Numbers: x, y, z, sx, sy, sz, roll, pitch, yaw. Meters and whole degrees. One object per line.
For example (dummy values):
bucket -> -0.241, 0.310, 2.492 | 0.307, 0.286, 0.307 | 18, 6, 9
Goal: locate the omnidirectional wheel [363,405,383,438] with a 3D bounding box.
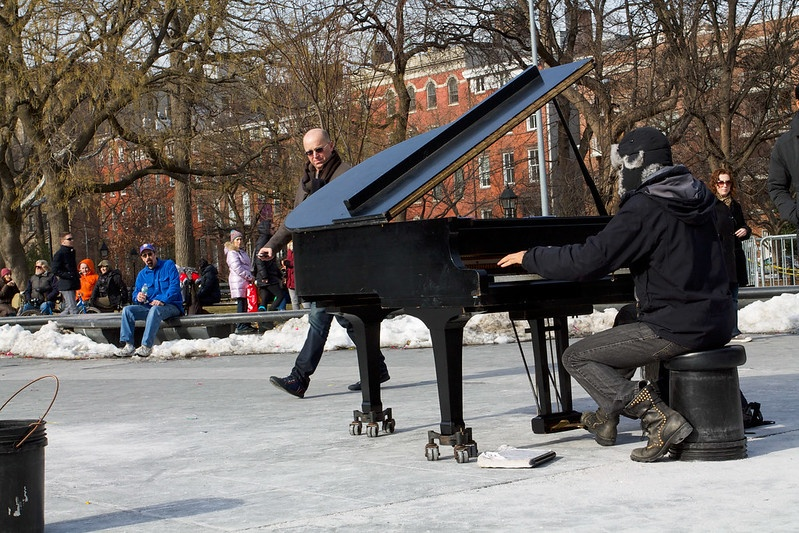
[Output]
omnidirectional wheel -> -0.290, 1.732, 12.111 | 0.265, 0.347, 0.257 | -1, -3, 0

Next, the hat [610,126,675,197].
hat -> 2.633, -1.058, 11.105 | 0.731, 0.708, 0.536 | 7, 9, 37

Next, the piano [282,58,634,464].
piano -> 0.875, 0.255, 13.275 | 3.817, 4.639, 4.356 | 1, -4, -42

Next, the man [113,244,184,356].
man -> -4.326, 0.598, 19.049 | 1.079, 1.990, 0.808 | -3, 9, 0

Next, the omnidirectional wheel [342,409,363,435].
omnidirectional wheel -> -0.527, 1.757, 12.378 | 0.122, 0.243, 0.288 | -3, -3, 22

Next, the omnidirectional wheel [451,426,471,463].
omnidirectional wheel -> 0.629, 1.803, 11.099 | 0.173, 0.323, 0.146 | -5, 9, -16

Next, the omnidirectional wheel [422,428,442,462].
omnidirectional wheel -> 0.330, 1.812, 11.292 | 0.152, 0.277, 0.302 | -2, 8, 1

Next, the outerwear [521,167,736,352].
outerwear -> 2.282, -0.143, 11.053 | 2.510, 1.613, 1.669 | -8, 14, -36

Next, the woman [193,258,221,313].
woman -> -4.216, 0.433, 23.601 | 0.735, 1.141, 0.681 | 2, -8, -44

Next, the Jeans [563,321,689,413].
Jeans -> 2.217, 0.938, 11.120 | 0.981, 0.461, 0.988 | -28, 3, 13
